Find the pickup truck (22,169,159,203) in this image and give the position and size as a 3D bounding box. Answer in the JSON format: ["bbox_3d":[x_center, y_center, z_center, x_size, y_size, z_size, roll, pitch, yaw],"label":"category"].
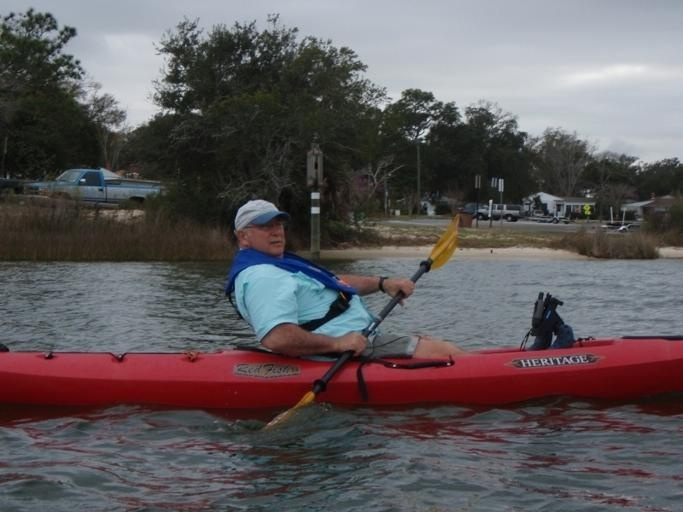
[{"bbox_3d":[-6.717,-1.946,24.852,3.250,0.900,1.309,2,1,-41],"label":"pickup truck"}]

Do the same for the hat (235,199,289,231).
[{"bbox_3d":[-0.716,-0.368,7.878,0.407,0.167,0.280,-7,-1,24],"label":"hat"}]
